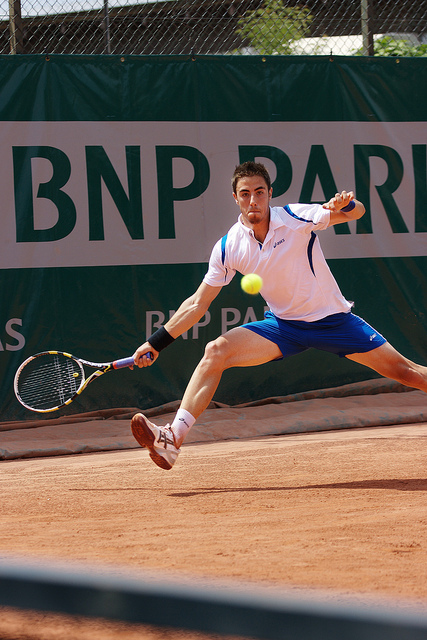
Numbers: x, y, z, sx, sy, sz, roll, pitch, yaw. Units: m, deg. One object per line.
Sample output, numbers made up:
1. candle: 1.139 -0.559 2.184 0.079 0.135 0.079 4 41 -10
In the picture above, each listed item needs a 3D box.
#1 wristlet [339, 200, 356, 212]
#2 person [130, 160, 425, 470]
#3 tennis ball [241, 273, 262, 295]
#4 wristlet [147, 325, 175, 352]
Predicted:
1. wristlet: 0.625 -0.533 3.132 0.052 0.033 0.095 -2 -2 -14
2. person: 0.253 -0.069 3.213 1.376 1.403 0.476 -2 -2 -14
3. tennis ball: 0.182 -0.179 3.254 0.099 0.086 0.093 1 2 0
4. wristlet: -0.261 0.089 3.315 0.137 0.105 0.060 -35 -2 27
